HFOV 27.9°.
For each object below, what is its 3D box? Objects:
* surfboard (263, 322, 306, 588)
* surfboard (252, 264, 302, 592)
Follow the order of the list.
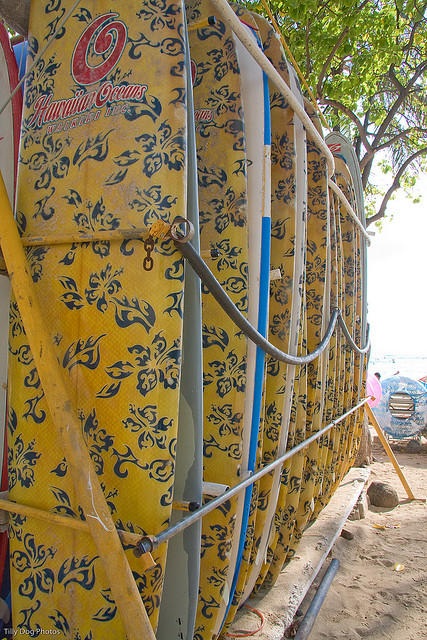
[{"bbox_3d":[0.251,0.451,2.898,0.100,0.885,0.086,3,0,-43],"label":"surfboard"},{"bbox_3d":[0.216,0.273,2.692,0.093,1.114,0.113,4,-2,-12],"label":"surfboard"}]
